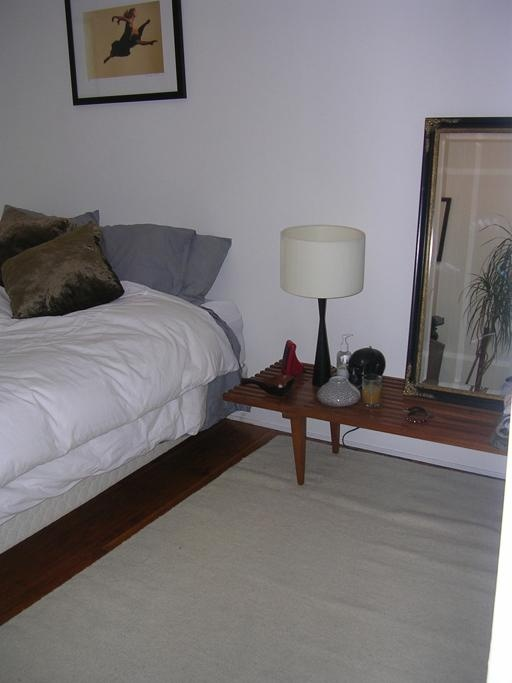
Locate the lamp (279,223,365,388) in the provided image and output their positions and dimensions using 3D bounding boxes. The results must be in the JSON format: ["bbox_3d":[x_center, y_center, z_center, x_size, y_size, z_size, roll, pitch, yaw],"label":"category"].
[{"bbox_3d":[0.258,-0.134,2.244,0.343,0.664,0.413,5,16,10],"label":"lamp"}]

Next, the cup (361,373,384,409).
[{"bbox_3d":[0.444,0.198,2.083,0.073,0.115,0.119,0,9,5],"label":"cup"}]

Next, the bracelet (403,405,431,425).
[{"bbox_3d":[0.596,0.272,1.996,0.084,0.028,0.117,6,16,15],"label":"bracelet"}]
